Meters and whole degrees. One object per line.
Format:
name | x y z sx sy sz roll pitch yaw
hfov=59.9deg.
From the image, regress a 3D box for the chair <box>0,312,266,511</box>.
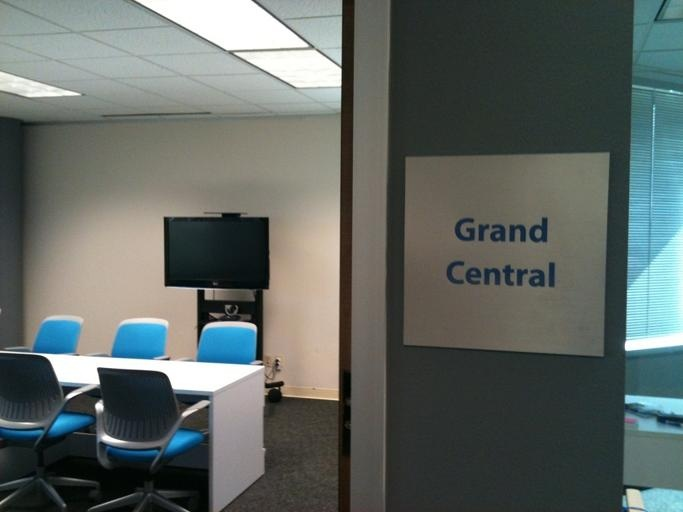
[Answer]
chair | -1.195 1.183 4.071 1.155 0.839 0.770 0 -3 16
